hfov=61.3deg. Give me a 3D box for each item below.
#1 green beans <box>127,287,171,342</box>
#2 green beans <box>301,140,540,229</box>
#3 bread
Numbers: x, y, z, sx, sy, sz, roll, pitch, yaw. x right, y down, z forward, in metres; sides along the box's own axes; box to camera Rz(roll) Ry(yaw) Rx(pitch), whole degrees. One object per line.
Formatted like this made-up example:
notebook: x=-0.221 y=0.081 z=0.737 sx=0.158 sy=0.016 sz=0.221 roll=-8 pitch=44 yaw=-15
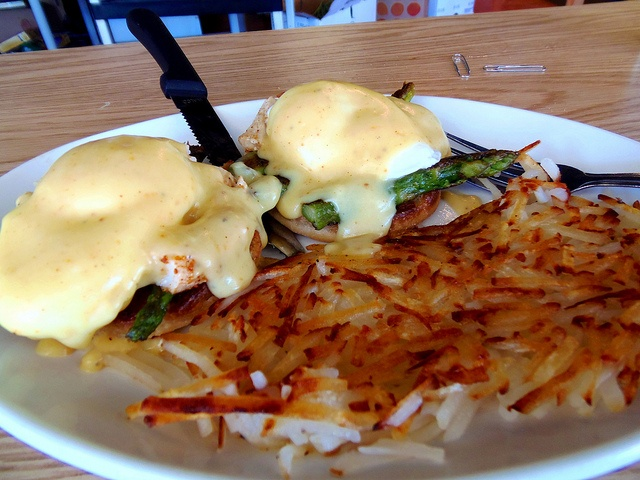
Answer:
green beans: x=-0.498 y=0.213 z=1.645 sx=0.071 sy=0.064 sz=0.219 roll=38 pitch=40 yaw=-11
green beans: x=0.340 y=-0.195 z=1.946 sx=1.105 sy=0.132 sz=0.128 roll=-12 pitch=20 yaw=1
bread: x=0.141 y=-0.074 z=1.995 sx=0.386 sy=0.067 sz=0.321 roll=-1 pitch=14 yaw=27
